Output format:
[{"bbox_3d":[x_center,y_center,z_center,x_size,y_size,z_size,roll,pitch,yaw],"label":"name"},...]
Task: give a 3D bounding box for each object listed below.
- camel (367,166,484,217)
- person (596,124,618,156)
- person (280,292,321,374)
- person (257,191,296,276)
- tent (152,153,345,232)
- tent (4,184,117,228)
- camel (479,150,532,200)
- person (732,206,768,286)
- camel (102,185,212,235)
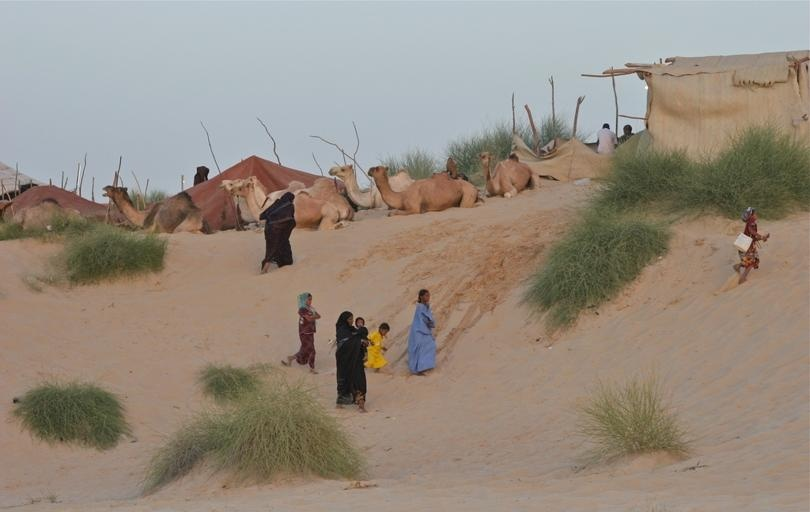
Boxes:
[{"bbox_3d":[0.459,-1.488,25.796,2.743,1.202,0.841,-2,15,-10],"label":"camel"},{"bbox_3d":[5.121,-3.009,28.787,0.519,0.770,1.680,-3,10,10],"label":"person"},{"bbox_3d":[-1.874,1.373,20.570,0.618,1.583,0.553,3,-1,-27],"label":"person"},{"bbox_3d":[-2.640,-0.495,23.206,0.599,1.498,0.796,1,2,29],"label":"person"},{"bbox_3d":[-3.808,-1.947,28.979,4.347,1.307,3.302,-7,-1,-42],"label":"tent"},{"bbox_3d":[-8.712,-1.261,28.257,2.632,0.855,5.028,-7,10,-16],"label":"tent"},{"bbox_3d":[2.397,-1.926,26.227,1.312,1.044,1.012,-6,9,-8],"label":"camel"},{"bbox_3d":[5.809,-0.200,18.988,0.478,1.197,0.454,2,5,22],"label":"person"},{"bbox_3d":[-5.586,-1.036,25.726,2.567,1.103,0.952,2,6,-4],"label":"camel"}]
